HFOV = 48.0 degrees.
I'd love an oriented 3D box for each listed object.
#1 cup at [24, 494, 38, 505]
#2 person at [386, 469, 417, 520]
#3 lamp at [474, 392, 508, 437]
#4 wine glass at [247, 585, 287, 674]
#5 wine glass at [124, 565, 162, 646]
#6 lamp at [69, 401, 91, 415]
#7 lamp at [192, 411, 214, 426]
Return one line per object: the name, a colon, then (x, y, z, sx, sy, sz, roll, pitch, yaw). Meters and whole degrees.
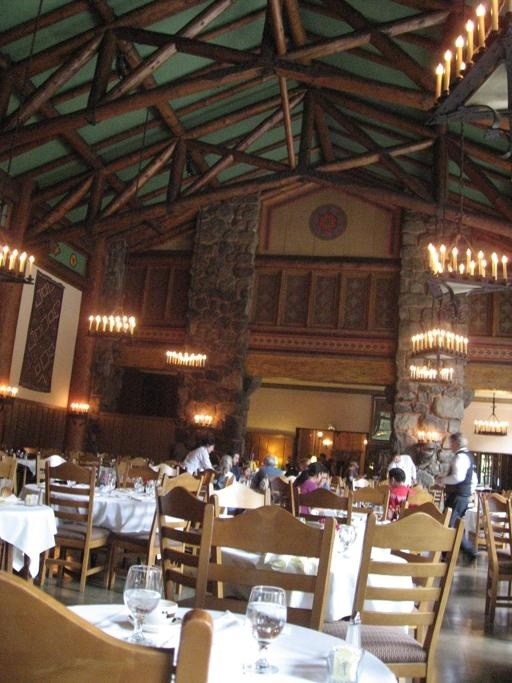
cup: (-1.460, 1.032, 3.755, 0.071, 0.048, 0.068, 2, -5, 0)
person: (1.356, 1.505, 5.559, 0.289, 0.226, 0.764, -3, -53, 0)
lamp: (6.200, 2.061, 15.113, 0.820, 0.828, 1.413, 2, -10, 22)
wine glass: (0.020, 0.575, 1.162, 0.074, 0.141, 0.180, 6, -10, 2)
wine glass: (-0.250, 0.575, 1.283, 0.083, 0.144, 0.185, 7, -10, -8)
lamp: (-3.638, 1.400, 12.131, 0.303, 0.116, 0.306, 9, 9, 27)
lamp: (-1.048, 1.569, 11.734, 0.285, 0.166, 0.321, 1, 5, -19)
